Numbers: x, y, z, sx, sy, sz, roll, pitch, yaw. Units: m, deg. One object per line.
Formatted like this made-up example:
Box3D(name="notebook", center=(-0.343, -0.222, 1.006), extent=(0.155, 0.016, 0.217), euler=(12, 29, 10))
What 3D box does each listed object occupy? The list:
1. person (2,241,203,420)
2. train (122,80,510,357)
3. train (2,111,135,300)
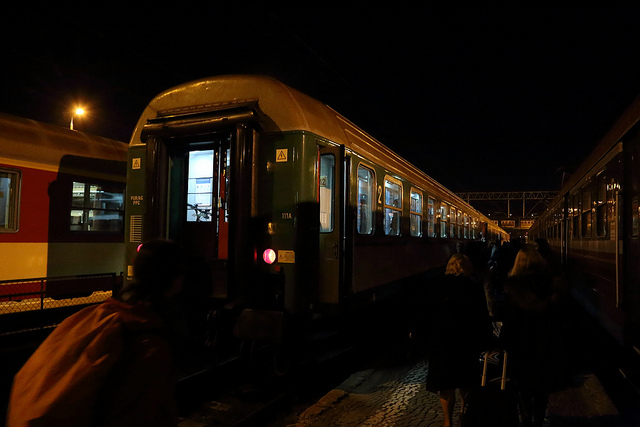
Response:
Box3D(name="person", center=(-1.502, 0.835, 3.286), extent=(1.105, 1.241, 0.370), euler=(0, 1, -17))
Box3D(name="train", center=(1.398, 0.081, 14.067), extent=(3.278, 4.630, 15.892), euler=(0, 0, 22))
Box3D(name="train", center=(-5.355, 0.011, 9.620), extent=(0.945, 2.028, 3.890), euler=(0, -3, 10))
